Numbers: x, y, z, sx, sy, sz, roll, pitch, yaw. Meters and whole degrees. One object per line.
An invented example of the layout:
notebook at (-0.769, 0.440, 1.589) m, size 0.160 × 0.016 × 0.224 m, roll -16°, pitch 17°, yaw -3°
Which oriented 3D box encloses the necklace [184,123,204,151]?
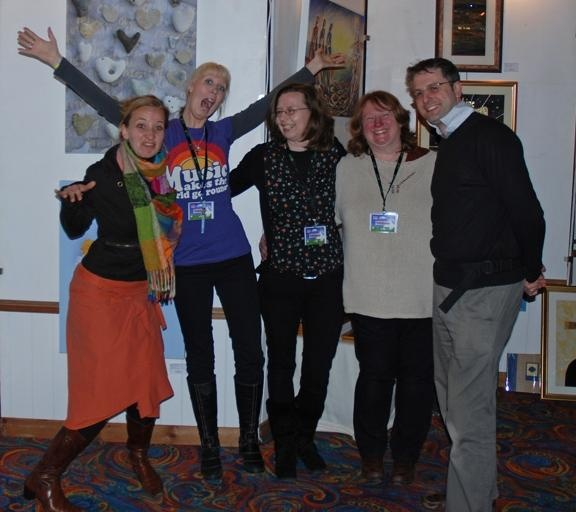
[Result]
necklace at (-0.457, -0.583, 2.995) m, size 0.083 × 0.136 × 0.030 m, roll 0°, pitch -10°, yaw -18°

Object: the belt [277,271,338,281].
belt at (0.105, 0.095, 2.997) m, size 0.299 × 0.051 × 0.043 m, roll 0°, pitch 10°, yaw -3°

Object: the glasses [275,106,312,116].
glasses at (0.025, -0.722, 2.977) m, size 0.157 × 0.048 × 0.046 m, roll 3°, pitch 11°, yaw 11°

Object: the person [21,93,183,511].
person at (-0.845, 0.219, 2.835) m, size 0.722 × 1.926 × 0.324 m, roll -5°, pitch 11°, yaw -29°
